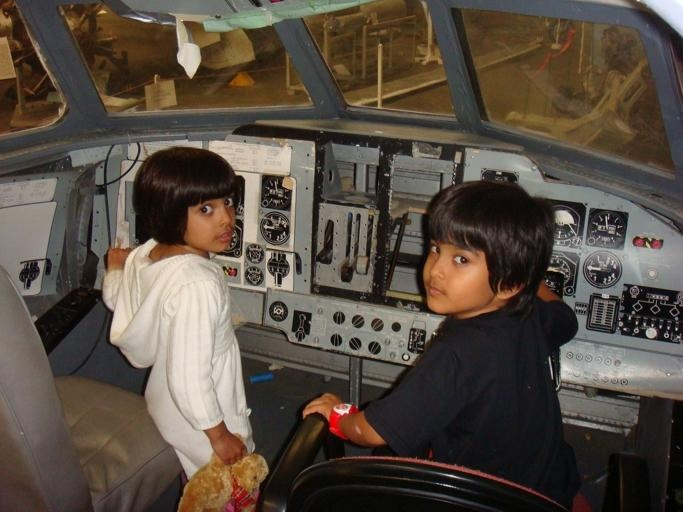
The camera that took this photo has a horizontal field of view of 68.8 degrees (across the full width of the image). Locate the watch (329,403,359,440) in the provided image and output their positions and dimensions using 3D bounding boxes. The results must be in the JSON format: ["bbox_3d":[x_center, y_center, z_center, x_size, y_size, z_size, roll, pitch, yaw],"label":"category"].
[{"bbox_3d":[-0.002,0.487,1.518,0.081,0.109,0.062,6,18,-1],"label":"watch"}]
